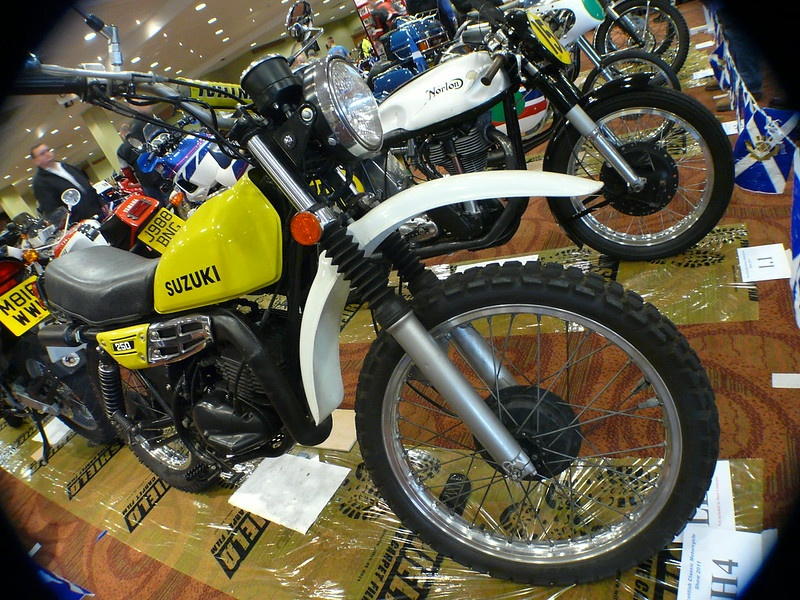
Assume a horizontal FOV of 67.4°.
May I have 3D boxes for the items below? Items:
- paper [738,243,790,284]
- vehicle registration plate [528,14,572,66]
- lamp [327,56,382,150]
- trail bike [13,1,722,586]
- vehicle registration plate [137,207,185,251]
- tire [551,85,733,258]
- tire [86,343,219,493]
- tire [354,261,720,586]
[{"bbox_3d":[1.691,-0.170,2.780,0.211,0.091,0.253,-2,61,23],"label":"paper"},{"bbox_3d":[0.734,-1.225,2.793,0.028,0.315,0.259,-39,68,11],"label":"vehicle registration plate"},{"bbox_3d":[-0.137,-0.609,1.874,0.078,0.256,0.277,-11,58,19],"label":"lamp"},{"bbox_3d":[-0.251,-0.239,2.930,3.152,2.012,1.978,8,24,26],"label":"trail bike"},{"bbox_3d":[-1.449,-0.432,3.681,0.273,0.252,0.063,23,22,27],"label":"vehicle registration plate"},{"bbox_3d":[1.178,-0.603,2.960,0.993,0.996,0.294,-3,21,17],"label":"tire"},{"bbox_3d":[-1.029,0.496,2.529,0.600,0.598,0.179,30,50,25],"label":"tire"},{"bbox_3d":[0.416,0.453,2.045,1.150,1.159,0.259,-37,3,26],"label":"tire"}]
